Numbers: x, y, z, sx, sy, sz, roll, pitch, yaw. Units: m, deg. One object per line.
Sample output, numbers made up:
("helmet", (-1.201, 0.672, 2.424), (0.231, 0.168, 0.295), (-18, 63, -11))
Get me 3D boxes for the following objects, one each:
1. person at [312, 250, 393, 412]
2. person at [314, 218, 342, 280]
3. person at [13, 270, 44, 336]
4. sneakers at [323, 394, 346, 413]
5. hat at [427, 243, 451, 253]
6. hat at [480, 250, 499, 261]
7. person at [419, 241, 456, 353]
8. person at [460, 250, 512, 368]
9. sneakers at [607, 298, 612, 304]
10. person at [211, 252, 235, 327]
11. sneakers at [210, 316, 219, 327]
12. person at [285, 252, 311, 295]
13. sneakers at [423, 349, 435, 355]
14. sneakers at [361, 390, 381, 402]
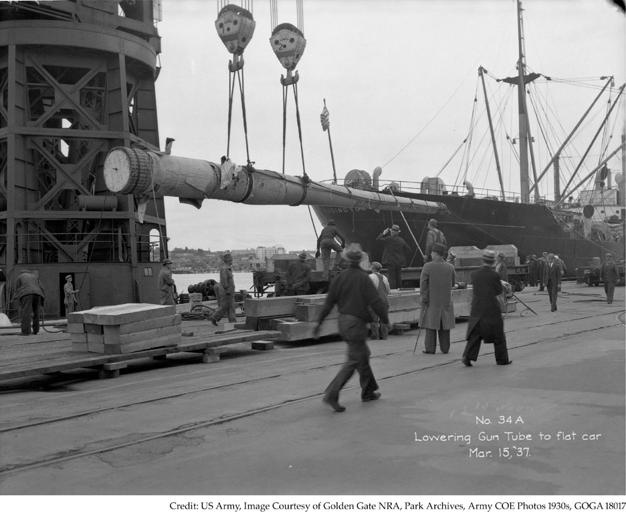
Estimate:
("person", (0.551, 1.023, 11.371), (0.855, 2.254, 1.262), (2, 8, 24))
("person", (0.457, -0.212, 20.924), (0.699, 1.655, 0.556), (-2, -23, 7))
("person", (-7.098, 1.183, 19.865), (0.694, 1.605, 1.793), (-4, 8, -20))
("sneakers", (0.286, 2.056, 10.987), (0.140, 0.317, 0.426), (3, -5, 43))
("hat", (2.923, -0.203, 18.511), (0.438, 0.197, 0.548), (2, -5, 19))
("hat", (3.108, -0.013, 14.039), (0.326, 0.143, 0.399), (2, -3, 4))
("person", (2.391, 0.837, 15.272), (0.624, 2.177, 0.678), (0, 8, 8))
("person", (3.036, 0.919, 13.847), (0.823, 2.001, 0.844), (1, 8, 14))
("sneakers", (9.571, 1.463, 25.549), (0.117, 0.171, 0.165), (0, -14, 8))
("person", (-2.197, 0.843, 19.394), (0.551, 1.850, 0.952), (-3, 8, -8))
("sneakers", (-2.446, 1.624, 19.756), (0.086, 0.249, 0.232), (-5, -1, -12))
("person", (-0.389, 0.465, 20.971), (0.655, 1.239, 0.739), (-2, 8, -3))
("sneakers", (2.238, 1.831, 15.273), (0.083, 0.117, 0.247), (1, 2, -31))
("sneakers", (0.868, 2.027, 11.552), (0.317, 0.151, 0.119), (-9, 7, -35))
